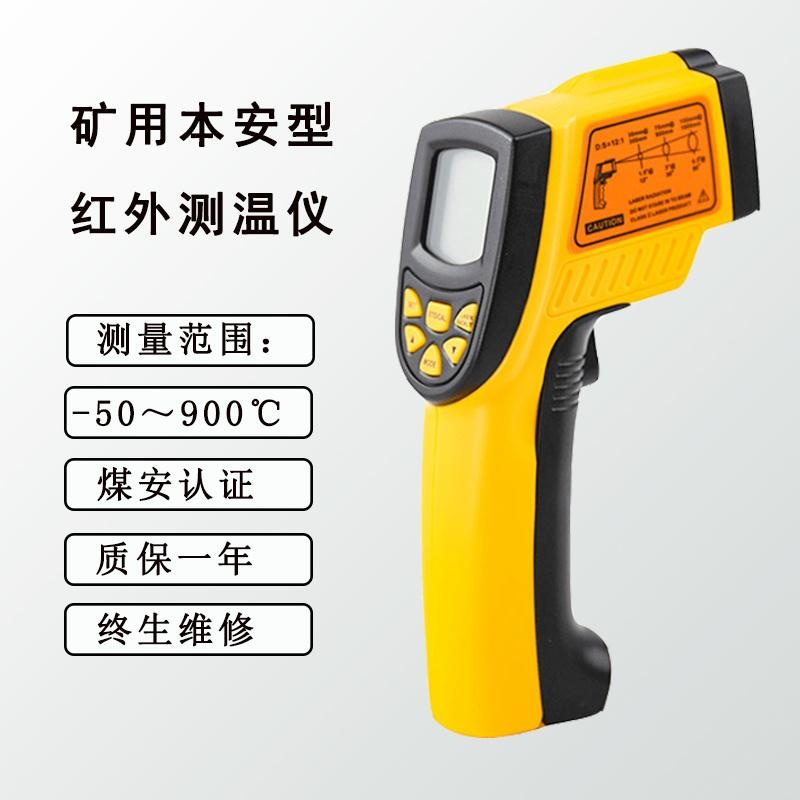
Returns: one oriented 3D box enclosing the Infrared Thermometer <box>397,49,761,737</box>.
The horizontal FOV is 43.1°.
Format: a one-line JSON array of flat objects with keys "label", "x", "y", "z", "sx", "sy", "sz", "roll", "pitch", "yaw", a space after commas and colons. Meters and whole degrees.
[{"label": "Infrared Thermometer", "x": 0.195, "y": -0.006, "z": 1.108, "sx": 0.397, "sy": 0.729, "sz": 0.367, "roll": 2, "pitch": -15, "yaw": -12}]
